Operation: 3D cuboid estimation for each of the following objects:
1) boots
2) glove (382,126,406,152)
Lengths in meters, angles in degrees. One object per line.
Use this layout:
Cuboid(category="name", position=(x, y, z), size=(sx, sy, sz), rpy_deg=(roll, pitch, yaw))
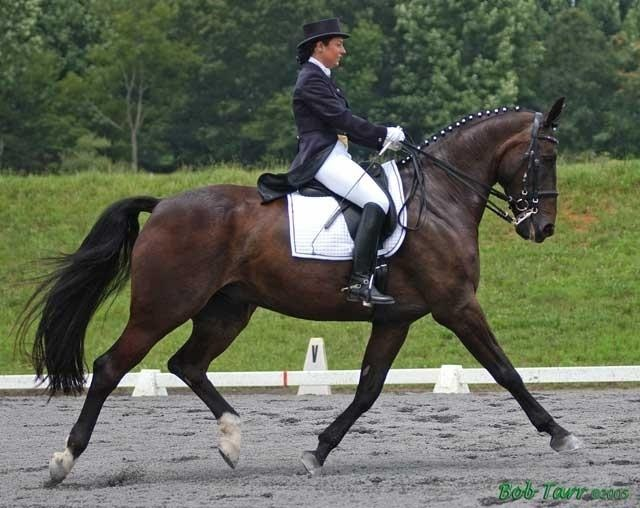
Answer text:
Cuboid(category="boots", position=(0.766, 0.013, 20.701), size=(0.671, 1.542, 0.354), rpy_deg=(1, 7, 2))
Cuboid(category="glove", position=(1.142, -1.796, 21.060), size=(0.393, 0.356, 0.293), rpy_deg=(-15, 23, -25))
